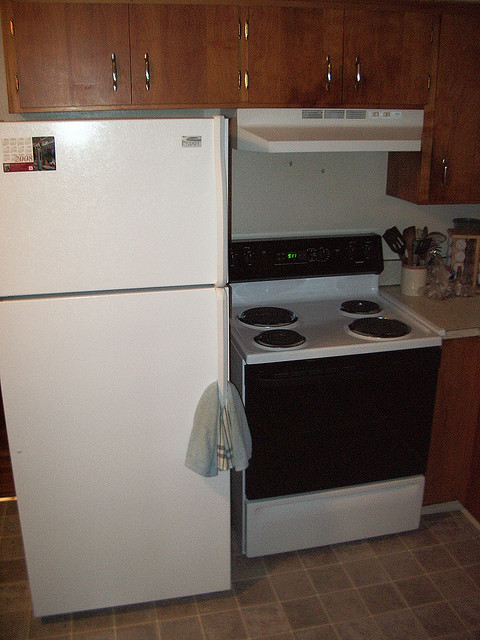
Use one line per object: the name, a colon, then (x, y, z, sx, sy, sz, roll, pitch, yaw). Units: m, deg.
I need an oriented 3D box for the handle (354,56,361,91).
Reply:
handle: (0.428, -0.898, 1.812, 0.018, 0.112, 0.027, 2, 11, 14)

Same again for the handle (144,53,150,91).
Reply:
handle: (-0.310, -0.831, 1.659, 0.016, 0.105, 0.027, -2, 11, -10)

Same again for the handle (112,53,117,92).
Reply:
handle: (-0.414, -0.818, 1.640, 0.013, 0.110, 0.029, -3, 11, -14)

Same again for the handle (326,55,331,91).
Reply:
handle: (0.320, -0.890, 1.789, 0.016, 0.113, 0.025, 2, 11, 11)

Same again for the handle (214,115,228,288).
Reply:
handle: (-0.046, -0.317, 1.331, 0.027, 0.457, 0.032, 1, -1, 31)

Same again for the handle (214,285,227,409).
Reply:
handle: (-0.051, 0.052, 1.433, 0.021, 0.304, 0.024, 7, -8, -34)

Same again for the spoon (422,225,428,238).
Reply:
spoon: (0.871, -0.415, 2.338, 0.029, 0.013, 0.102, -42, 17, 29)

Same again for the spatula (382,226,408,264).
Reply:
spatula: (0.720, -0.355, 2.293, 0.057, 0.193, 0.027, -38, 28, 2)

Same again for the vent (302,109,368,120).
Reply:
vent: (0.356, -0.766, 1.849, 0.259, 0.036, 0.018, -4, 12, -14)

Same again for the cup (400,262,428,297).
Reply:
cup: (0.806, -0.201, 2.292, 0.108, 0.159, 0.124, 7, 13, 22)

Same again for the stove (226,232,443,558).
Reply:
stove: (0.318, 0.262, 2.106, 0.702, 1.116, 0.791, 3, 21, 23)

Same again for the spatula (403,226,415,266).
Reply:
spatula: (0.777, -0.350, 2.273, 0.036, 0.210, 0.031, 0, 5, 7)
